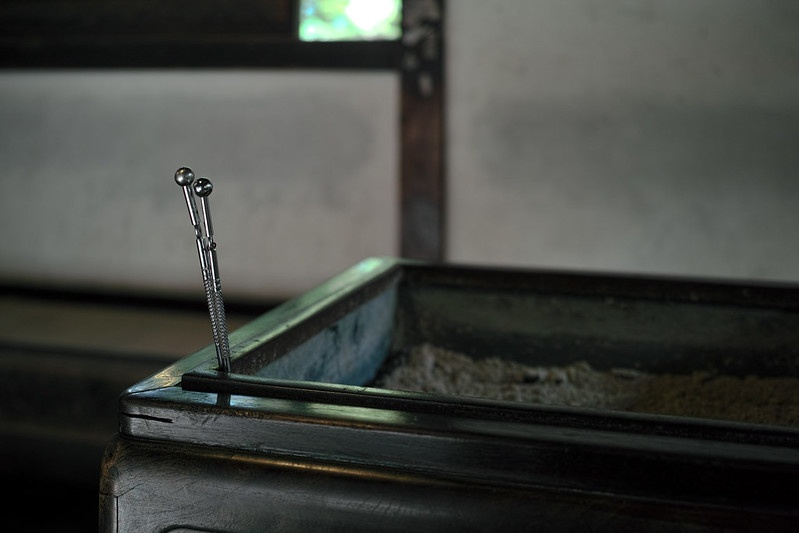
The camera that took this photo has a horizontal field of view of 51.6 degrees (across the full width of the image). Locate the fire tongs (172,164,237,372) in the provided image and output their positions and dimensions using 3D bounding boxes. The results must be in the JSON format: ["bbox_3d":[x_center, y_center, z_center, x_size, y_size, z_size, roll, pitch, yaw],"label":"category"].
[{"bbox_3d":[-0.390,0.023,1.737,0.045,0.438,0.077,-17,30,-28],"label":"fire tongs"}]
